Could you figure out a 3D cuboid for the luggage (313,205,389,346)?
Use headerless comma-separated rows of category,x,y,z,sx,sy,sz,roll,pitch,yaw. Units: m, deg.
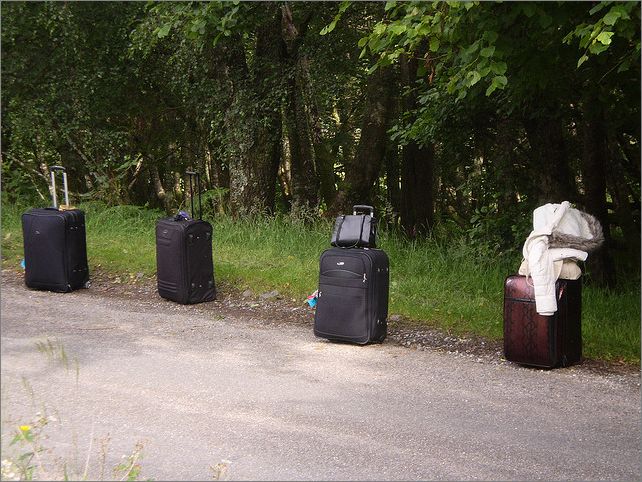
luggage,0.384,0.418,8.735,0.917,1.726,0.567,3,13,5

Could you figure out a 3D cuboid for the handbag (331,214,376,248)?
handbag,0.404,-0.118,8.845,0.525,0.435,0.381,-1,-9,25
